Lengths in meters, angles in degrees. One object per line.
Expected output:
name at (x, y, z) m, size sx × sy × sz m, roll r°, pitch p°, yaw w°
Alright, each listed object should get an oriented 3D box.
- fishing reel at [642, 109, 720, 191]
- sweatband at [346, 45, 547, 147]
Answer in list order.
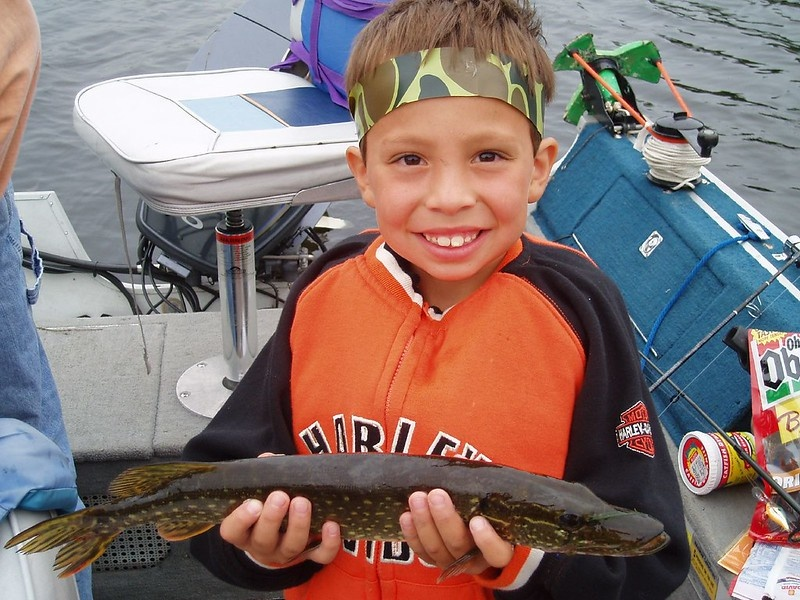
fishing reel at (1.777, -0.894, 4.757) m, size 0.383 × 0.517 × 0.436 m, roll -24°, pitch 31°, yaw -39°
sweatband at (0.154, -0.592, 2.237) m, size 0.544 × 0.274 × 0.158 m, roll 3°, pitch 48°, yaw -5°
